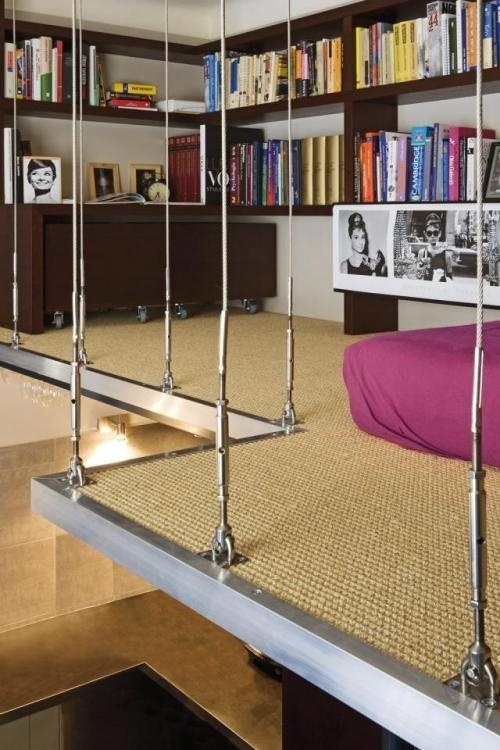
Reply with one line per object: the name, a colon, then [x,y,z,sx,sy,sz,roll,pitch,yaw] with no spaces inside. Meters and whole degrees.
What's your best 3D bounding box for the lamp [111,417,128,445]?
lamp: [-0.578,0.243,2.669,0.067,0.141,0.136,-4,7,-13]
